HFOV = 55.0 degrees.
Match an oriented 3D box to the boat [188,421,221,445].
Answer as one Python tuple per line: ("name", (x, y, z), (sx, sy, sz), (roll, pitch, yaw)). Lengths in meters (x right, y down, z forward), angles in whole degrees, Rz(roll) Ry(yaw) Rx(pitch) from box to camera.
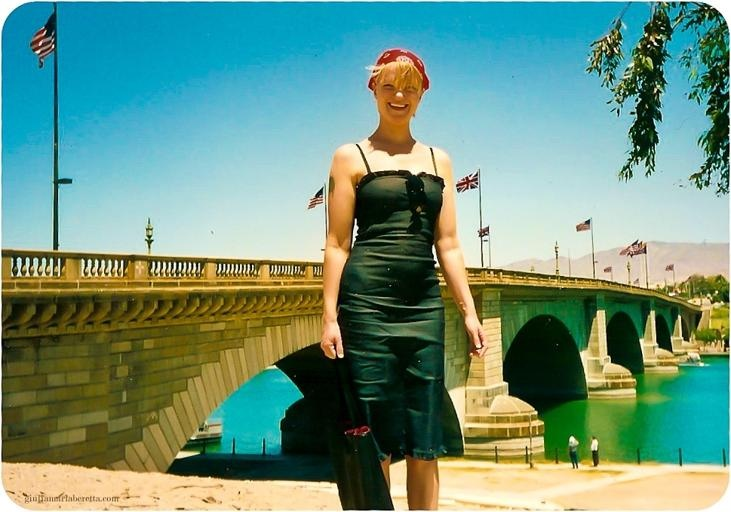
("boat", (-8.093, 8.780, 35.322), (1.206, 1.189, 3.420), (-1, -5, 0))

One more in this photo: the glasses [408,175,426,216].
("glasses", (0.630, -0.779, 8.755), (0.210, 0.667, 0.147), (-4, -29, 1))

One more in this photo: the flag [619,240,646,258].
("flag", (10.277, -0.253, 26.926), (0.351, 0.624, 1.376), (-19, -9, 7))

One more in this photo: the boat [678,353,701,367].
("boat", (21.988, 6.949, 47.565), (1.553, 0.734, 3.791), (-3, -6, 25))

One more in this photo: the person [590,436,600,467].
("person", (8.033, 6.782, 24.635), (0.219, 1.028, 1.353), (-2, -5, 18))

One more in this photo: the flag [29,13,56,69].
("flag", (-6.434, -4.315, 13.945), (0.450, 1.322, 1.225), (2, -6, -25))
